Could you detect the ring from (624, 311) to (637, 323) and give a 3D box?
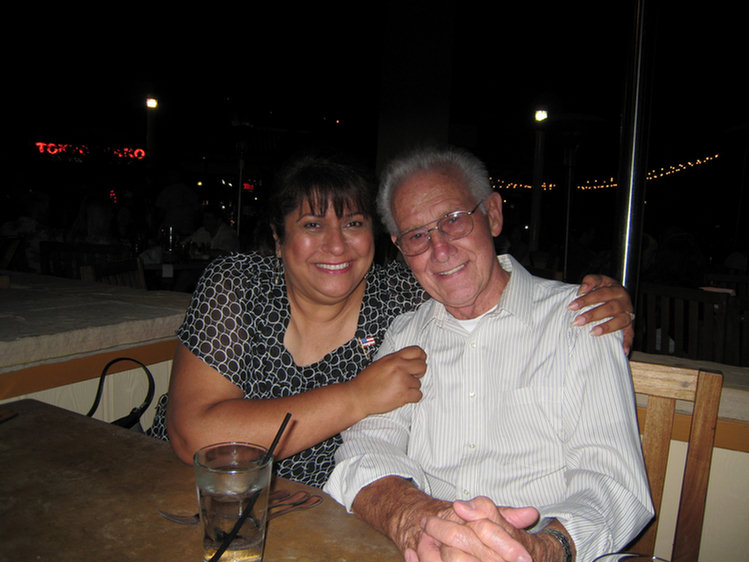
[{"bbox_3d":[0.924,0.131,2.106,0.039,0.019,0.042,1,34,0],"label":"ring"}]
